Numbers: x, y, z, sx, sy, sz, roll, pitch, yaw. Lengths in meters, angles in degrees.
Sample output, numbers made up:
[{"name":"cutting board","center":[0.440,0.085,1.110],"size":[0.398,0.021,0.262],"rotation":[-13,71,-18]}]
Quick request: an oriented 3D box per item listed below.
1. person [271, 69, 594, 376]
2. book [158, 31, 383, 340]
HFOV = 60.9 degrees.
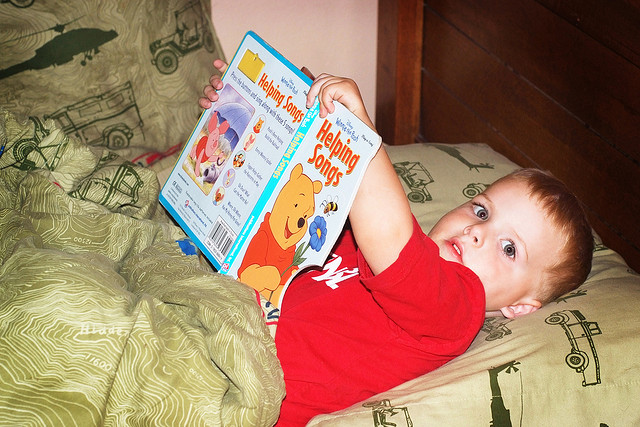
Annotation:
[{"name":"person","center":[0.316,0.104,1.210],"size":[0.770,0.580,0.305],"rotation":[-21,-21,-12]},{"name":"book","center":[-0.011,-0.036,1.427],"size":[0.148,0.617,0.639],"rotation":[9,-64,-54]}]
